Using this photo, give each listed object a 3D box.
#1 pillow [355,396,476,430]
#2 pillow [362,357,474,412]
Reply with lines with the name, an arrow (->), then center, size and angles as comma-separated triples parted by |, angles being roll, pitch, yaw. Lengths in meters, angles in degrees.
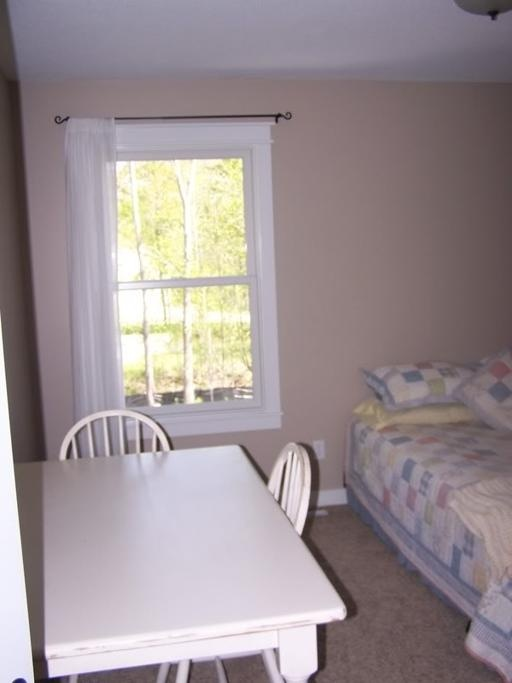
pillow -> 0.827, 0.366, 2.905 | 0.348, 0.082, 0.215 | -1, 10, 1
pillow -> 0.867, 0.207, 2.910 | 0.386, 0.103, 0.262 | -6, 28, 0
